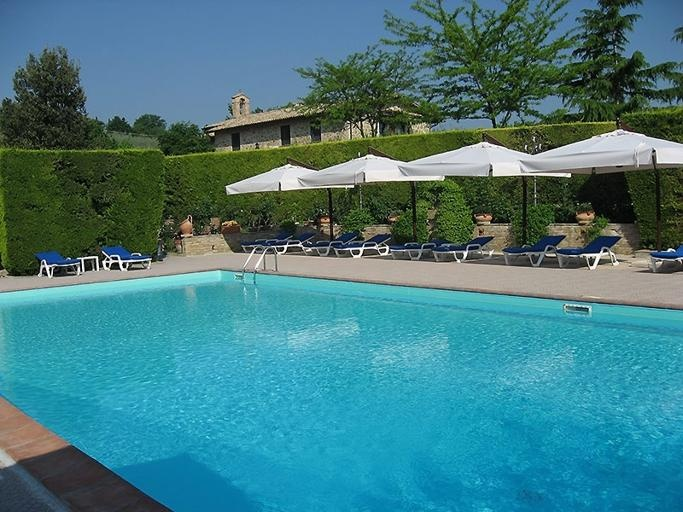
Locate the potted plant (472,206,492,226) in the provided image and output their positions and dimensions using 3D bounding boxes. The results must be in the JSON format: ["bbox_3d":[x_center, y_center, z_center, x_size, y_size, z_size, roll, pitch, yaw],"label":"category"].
[{"bbox_3d":[4.816,-1.370,19.217,0.717,0.449,0.688,0,1,0],"label":"potted plant"}]

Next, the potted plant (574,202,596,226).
[{"bbox_3d":[7.447,-1.287,17.255,0.779,0.747,0.759,0,2,-1],"label":"potted plant"}]
